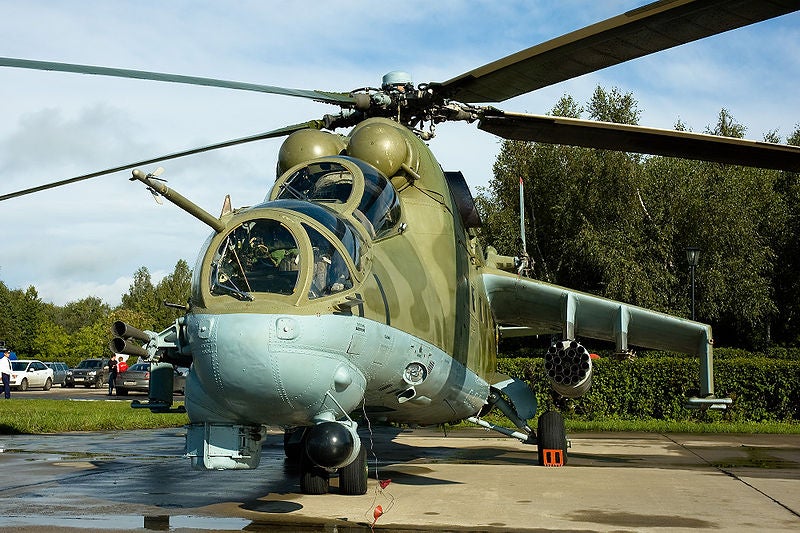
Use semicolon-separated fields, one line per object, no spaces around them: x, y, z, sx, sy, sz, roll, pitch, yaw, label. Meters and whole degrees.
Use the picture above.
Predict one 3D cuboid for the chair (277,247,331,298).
-1.218;0.109;11.441;0.544;0.736;0.298;7;4;20;chair
